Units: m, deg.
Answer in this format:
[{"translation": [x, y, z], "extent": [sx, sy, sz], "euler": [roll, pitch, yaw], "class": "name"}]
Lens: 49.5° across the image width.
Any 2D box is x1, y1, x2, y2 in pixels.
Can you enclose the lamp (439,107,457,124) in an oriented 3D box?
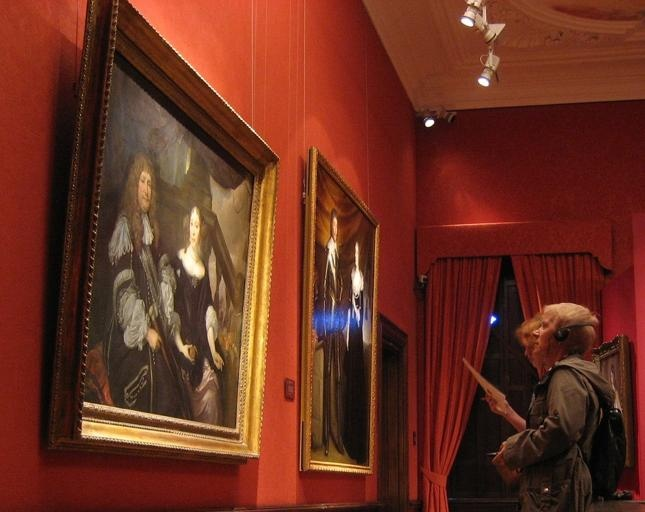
[{"translation": [1.744, -1.946, 9.841], "extent": [0.235, 0.152, 0.359], "euler": [11, 28, -5], "class": "lamp"}]
